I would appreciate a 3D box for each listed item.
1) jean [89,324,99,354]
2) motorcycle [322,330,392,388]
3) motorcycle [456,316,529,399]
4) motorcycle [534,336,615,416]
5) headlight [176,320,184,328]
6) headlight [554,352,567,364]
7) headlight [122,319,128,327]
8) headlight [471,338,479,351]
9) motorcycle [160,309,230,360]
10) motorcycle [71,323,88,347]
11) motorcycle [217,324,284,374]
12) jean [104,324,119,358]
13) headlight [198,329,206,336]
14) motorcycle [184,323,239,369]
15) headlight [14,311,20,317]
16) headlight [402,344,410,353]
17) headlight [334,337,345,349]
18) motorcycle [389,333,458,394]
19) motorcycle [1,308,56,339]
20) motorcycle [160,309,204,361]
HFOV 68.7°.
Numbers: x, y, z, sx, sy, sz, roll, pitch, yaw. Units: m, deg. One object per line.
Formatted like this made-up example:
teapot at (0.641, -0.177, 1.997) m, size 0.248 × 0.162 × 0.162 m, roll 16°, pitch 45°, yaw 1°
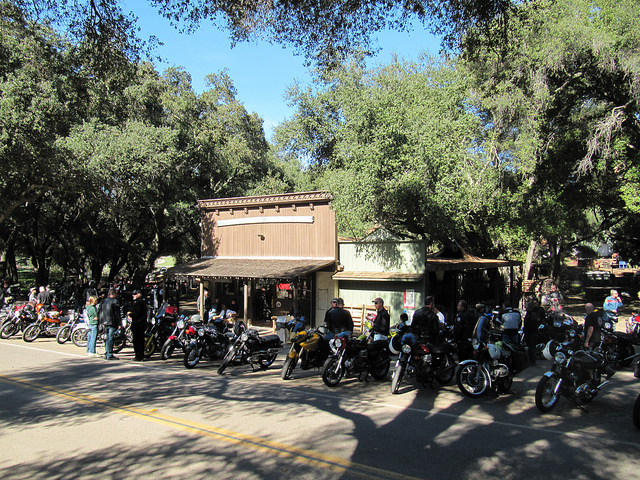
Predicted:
jean at (-8.027, 3.494, 16.447) m, size 0.251 × 1.092 × 0.410 m, roll -1°, pitch 2°, yaw -28°
motorcycle at (1.045, 3.384, 13.868) m, size 2.628 × 1.663 × 0.890 m, roll 5°, pitch -6°, yaw -38°
motorcycle at (4.673, 3.173, 12.489) m, size 2.645 × 1.837 × 0.863 m, roll 3°, pitch -8°, yaw -34°
motorcycle at (6.282, 3.166, 11.428) m, size 2.781 × 1.756 × 1.096 m, roll 4°, pitch -1°, yaw -29°
headlight at (-4.691, 2.813, 15.603) m, size 0.187 × 0.220 × 0.164 m, roll 1°, pitch 2°, yaw 32°
headlight at (5.548, 2.712, 10.800) m, size 0.218 × 0.245 × 0.057 m, roll 14°, pitch -10°, yaw 1°
headlight at (-7.470, 3.132, 17.795) m, size 0.040 × 0.196 × 0.183 m, roll -9°, pitch -5°, yaw 32°
headlight at (4.110, 2.753, 12.387) m, size 0.157 × 0.241 × 0.093 m, roll -13°, pitch -35°, yaw 34°
motorcycle at (-4.262, 3.355, 16.436) m, size 1.424 × 1.481 × 2.325 m, roll 0°, pitch -3°, yaw 42°
motorcycle at (-9.373, 3.688, 18.111) m, size 0.732 × 0.782 × 0.304 m, roll -32°, pitch -22°, yaw 12°
motorcycle at (-2.207, 3.433, 15.133) m, size 1.032 × 1.679 × 2.497 m, roll 6°, pitch -3°, yaw 41°
jean at (-7.212, 3.442, 16.021) m, size 0.393 × 1.094 × 0.326 m, roll -1°, pitch 2°, yaw -25°
headlight at (-3.863, 2.999, 15.136) m, size 0.238 × 0.232 × 0.192 m, roll 0°, pitch 2°, yaw -8°
motorcycle at (-3.506, 3.530, 15.977) m, size 1.090 × 1.565 × 2.710 m, roll 3°, pitch -4°, yaw 34°
headlight at (-12.642, 3.069, 19.388) m, size 0.269 × 0.225 × 0.122 m, roll 1°, pitch 2°, yaw 24°
headlight at (2.252, 2.854, 12.276) m, size 0.171 × 0.195 × 0.048 m, roll 7°, pitch -10°, yaw 4°
headlight at (0.564, 2.873, 13.123) m, size 0.274 × 0.301 × 0.261 m, roll 2°, pitch -4°, yaw -44°
motorcycle at (2.870, 3.238, 12.906) m, size 2.611 × 1.745 × 1.245 m, roll 4°, pitch -3°, yaw -37°
motorcycle at (-12.321, 3.635, 19.808) m, size 1.885 × 1.259 × 1.022 m, roll 23°, pitch -7°, yaw -33°
motorcycle at (-4.543, 3.312, 16.641) m, size 1.864 × 1.282 × 1.090 m, roll -3°, pitch -3°, yaw -25°
